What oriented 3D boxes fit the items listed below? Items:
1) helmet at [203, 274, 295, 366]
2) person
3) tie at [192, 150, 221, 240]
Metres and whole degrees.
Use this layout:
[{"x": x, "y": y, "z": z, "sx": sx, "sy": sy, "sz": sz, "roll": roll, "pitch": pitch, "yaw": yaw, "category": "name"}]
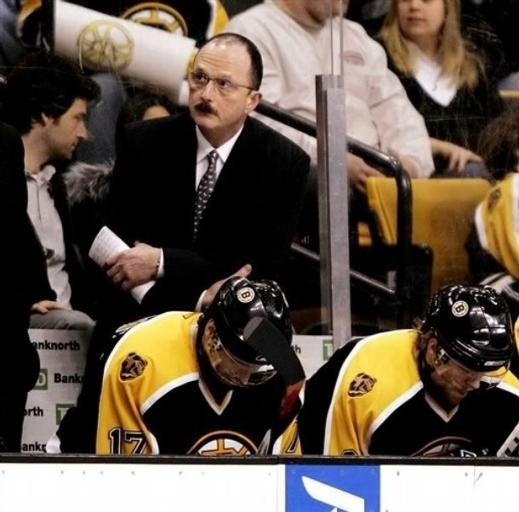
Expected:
[{"x": -0.071, "y": 0.198, "z": 3.199, "sx": 0.244, "sy": 0.260, "sz": 0.287, "roll": -36, "pitch": 86, "yaw": -22, "category": "helmet"}, {"x": -0.071, "y": -0.118, "z": 3.113, "sx": 1.213, "sy": 1.257, "sz": 0.450, "roll": 8, "pitch": -5, "yaw": -15, "category": "person"}, {"x": -0.180, "y": -0.214, "z": 3.117, "sx": 0.055, "sy": 0.367, "sz": 0.041, "roll": 12, "pitch": 1, "yaw": -15, "category": "tie"}]
